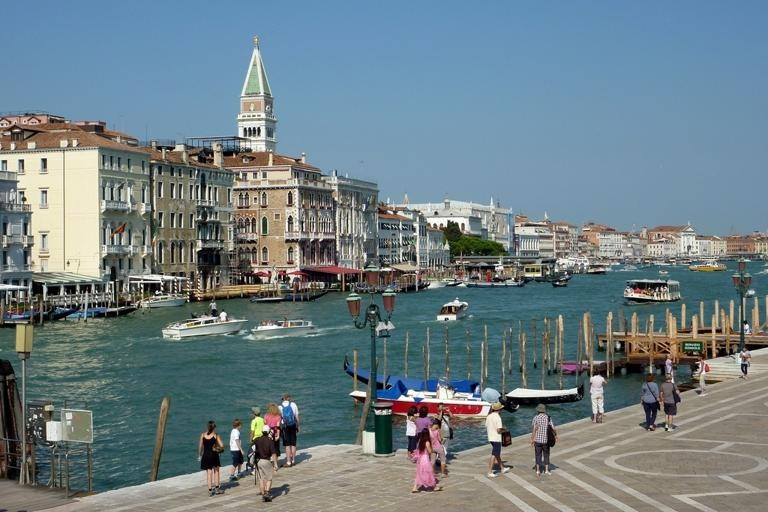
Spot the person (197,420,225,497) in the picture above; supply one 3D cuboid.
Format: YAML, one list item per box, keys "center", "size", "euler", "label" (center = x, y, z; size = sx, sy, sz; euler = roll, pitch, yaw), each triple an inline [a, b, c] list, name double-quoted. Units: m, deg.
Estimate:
- center: [-6.585, 7.689, 50.572]
  size: [1.160, 2.681, 0.843]
  euler: [-3, -1, -3]
  label: "person"

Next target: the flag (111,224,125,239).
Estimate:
- center: [-25.331, -2.482, 125.056]
  size: [0.893, 1.590, 2.782]
  euler: [-2, -4, 5]
  label: "flag"

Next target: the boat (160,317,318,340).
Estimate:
- center: [-11.270, 5.351, 99.799]
  size: [11.087, 1.730, 5.580]
  euler: [-1, -4, -10]
  label: "boat"

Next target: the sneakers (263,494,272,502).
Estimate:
- center: [-4.350, 9.026, 49.563]
  size: [0.373, 0.259, 0.290]
  euler: [0, -4, -15]
  label: "sneakers"

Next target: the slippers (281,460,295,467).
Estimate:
- center: [-3.844, 8.295, 52.975]
  size: [0.538, 0.208, 0.190]
  euler: [5, 1, 12]
  label: "slippers"

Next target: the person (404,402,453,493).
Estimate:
- center: [1.653, 7.660, 50.835]
  size: [1.157, 2.776, 1.440]
  euler: [-1, -2, 44]
  label: "person"

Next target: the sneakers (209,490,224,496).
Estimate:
- center: [-6.403, 8.954, 50.247]
  size: [0.558, 0.220, 0.194]
  euler: [-4, 8, -45]
  label: "sneakers"
